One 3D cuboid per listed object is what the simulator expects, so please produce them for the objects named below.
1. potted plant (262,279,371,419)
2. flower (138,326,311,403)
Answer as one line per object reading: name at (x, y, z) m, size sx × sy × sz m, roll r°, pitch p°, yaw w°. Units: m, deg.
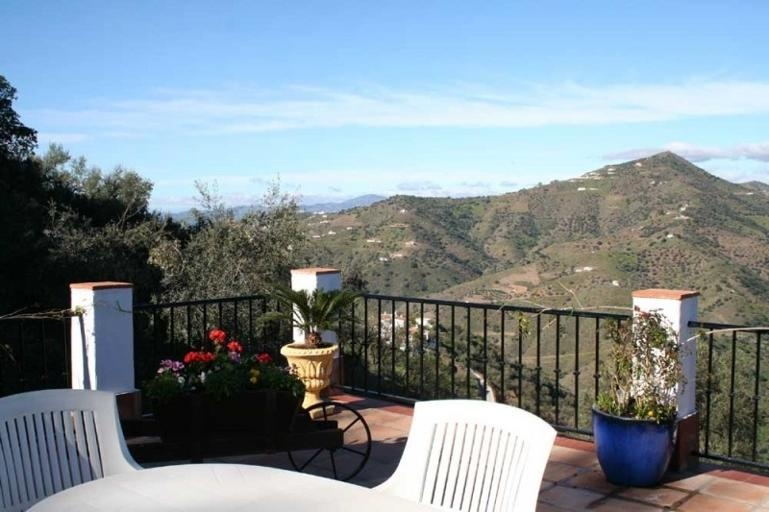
potted plant at (-2.013, 2.206, 18.425) m, size 2.844 × 3.284 × 2.940 m, roll 0°, pitch 2°, yaw 31°
flower at (-3.627, 2.648, 15.895) m, size 2.385 × 1.043 × 1.876 m, roll 2°, pitch 1°, yaw -34°
